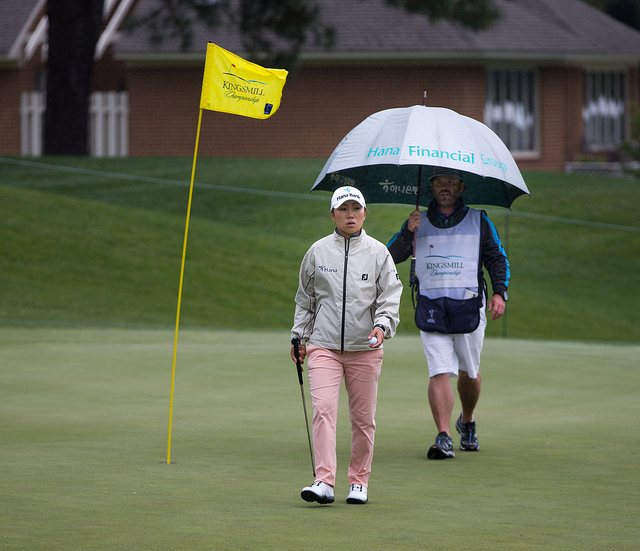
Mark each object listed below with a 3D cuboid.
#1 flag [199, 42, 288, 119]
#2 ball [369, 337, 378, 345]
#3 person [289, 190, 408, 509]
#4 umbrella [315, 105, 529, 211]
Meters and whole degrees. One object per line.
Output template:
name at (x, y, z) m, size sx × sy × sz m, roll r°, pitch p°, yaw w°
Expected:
flag at (-0.666, -1.756, 14.140) m, size 0.767 × 0.657 × 0.322 m, roll 0°, pitch 8°, yaw -10°
ball at (0.443, 0.532, 12.577) m, size 0.047 × 0.040 × 0.052 m, roll 5°, pitch -12°, yaw -42°
person at (0.227, 0.568, 12.684) m, size 0.867 × 2.478 × 0.660 m, roll 1°, pitch 8°, yaw -1°
umbrella at (0.969, -1.053, 14.278) m, size 1.237 × 0.583 × 1.288 m, roll 8°, pitch -9°, yaw -2°
